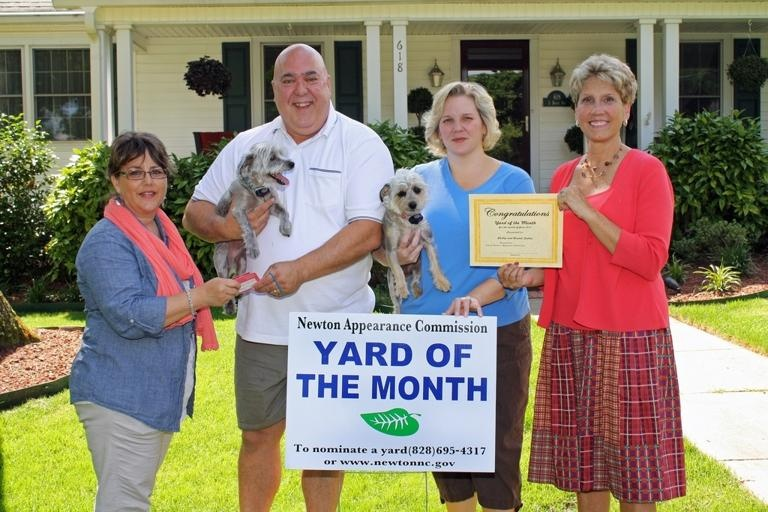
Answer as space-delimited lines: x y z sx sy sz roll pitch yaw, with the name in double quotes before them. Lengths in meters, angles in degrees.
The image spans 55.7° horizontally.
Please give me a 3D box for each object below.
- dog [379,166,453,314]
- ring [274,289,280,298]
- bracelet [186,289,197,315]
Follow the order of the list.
"dog" 0.282 -0.081 5.629 0.350 0.821 1.305 -4 -31 -9
"ring" -0.773 0.268 5.267 0.035 0.041 0.018 3 53 1
"bracelet" -1.408 0.338 5.328 0.041 0.151 0.104 -10 16 -7
